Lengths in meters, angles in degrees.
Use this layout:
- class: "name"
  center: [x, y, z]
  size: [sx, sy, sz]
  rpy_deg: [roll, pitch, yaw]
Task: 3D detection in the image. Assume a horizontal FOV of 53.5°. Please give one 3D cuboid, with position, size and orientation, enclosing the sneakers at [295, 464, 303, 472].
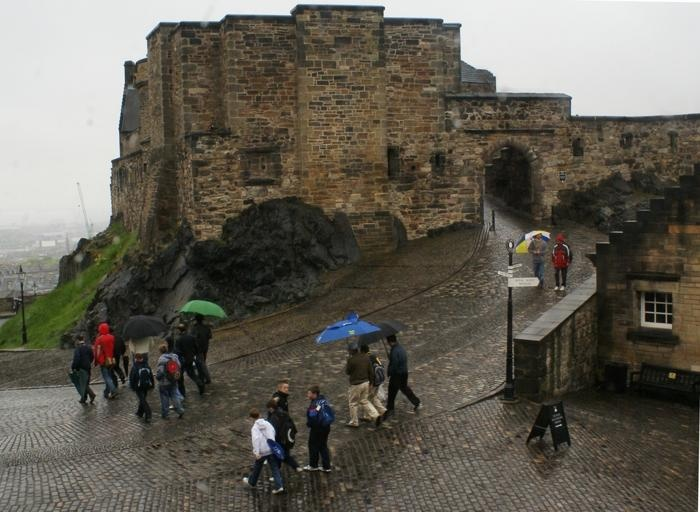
- class: "sneakers"
  center: [-0.976, 4.112, 13.412]
  size: [0.083, 0.108, 0.234]
  rpy_deg: [-5, -30, -11]

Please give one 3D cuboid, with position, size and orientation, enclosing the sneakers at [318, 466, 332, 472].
- class: "sneakers"
  center: [-0.491, 4.129, 13.524]
  size: [0.267, 0.114, 0.102]
  rpy_deg: [5, 3, 16]

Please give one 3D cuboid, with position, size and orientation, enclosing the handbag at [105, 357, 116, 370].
- class: "handbag"
  center: [-6.064, 2.727, 17.725]
  size: [0.228, 0.299, 0.287]
  rpy_deg: [-3, 0, 32]

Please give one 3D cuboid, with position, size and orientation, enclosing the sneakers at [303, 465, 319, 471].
- class: "sneakers"
  center: [-0.760, 4.132, 13.573]
  size: [0.304, 0.140, 0.116]
  rpy_deg: [4, 1, 2]

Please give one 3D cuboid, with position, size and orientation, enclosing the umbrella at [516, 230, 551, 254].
- class: "umbrella"
  center: [5.521, -0.404, 21.359]
  size: [0.700, 0.632, 2.033]
  rpy_deg: [0, 7, 27]

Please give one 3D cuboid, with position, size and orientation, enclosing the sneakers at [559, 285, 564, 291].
- class: "sneakers"
  center: [6.673, 1.006, 21.952]
  size: [0.195, 0.120, 0.113]
  rpy_deg: [-4, -16, 12]

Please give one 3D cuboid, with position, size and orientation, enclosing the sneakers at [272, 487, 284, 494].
- class: "sneakers"
  center: [-1.348, 4.393, 12.984]
  size: [0.092, 0.104, 0.250]
  rpy_deg: [0, 2, -28]

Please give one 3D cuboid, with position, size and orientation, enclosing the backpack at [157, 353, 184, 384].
- class: "backpack"
  center: [-4.190, 2.563, 16.009]
  size: [0.530, 0.728, 0.354]
  rpy_deg: [-5, 6, -19]

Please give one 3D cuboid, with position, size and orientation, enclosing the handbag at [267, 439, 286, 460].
- class: "handbag"
  center: [-1.374, 3.594, 12.852]
  size: [0.090, 0.385, 0.289]
  rpy_deg: [-30, 10, -41]

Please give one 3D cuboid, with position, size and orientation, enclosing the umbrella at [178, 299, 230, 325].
- class: "umbrella"
  center: [-4.691, 1.853, 22.418]
  size: [1.187, 0.408, 1.195]
  rpy_deg: [10, -8, -36]

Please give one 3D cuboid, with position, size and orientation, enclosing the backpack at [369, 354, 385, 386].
- class: "backpack"
  center: [0.564, 2.476, 15.008]
  size: [0.298, 0.739, 0.439]
  rpy_deg: [-3, 5, 0]
